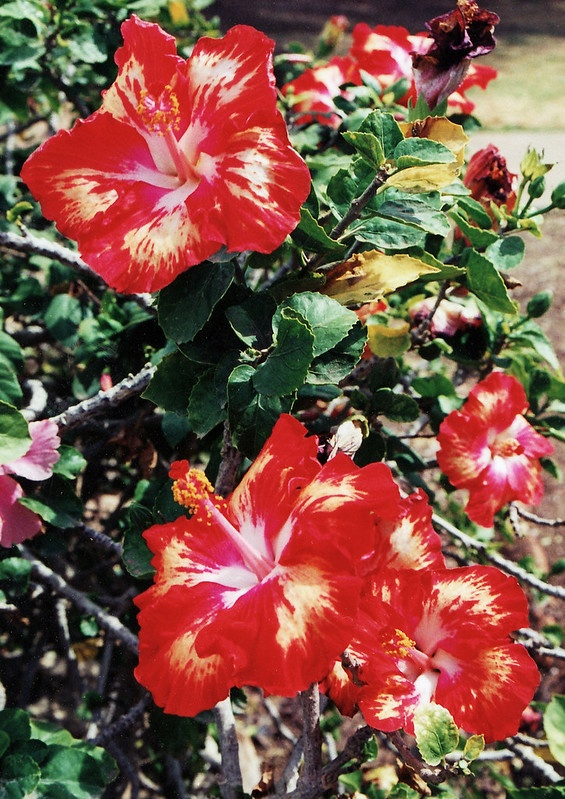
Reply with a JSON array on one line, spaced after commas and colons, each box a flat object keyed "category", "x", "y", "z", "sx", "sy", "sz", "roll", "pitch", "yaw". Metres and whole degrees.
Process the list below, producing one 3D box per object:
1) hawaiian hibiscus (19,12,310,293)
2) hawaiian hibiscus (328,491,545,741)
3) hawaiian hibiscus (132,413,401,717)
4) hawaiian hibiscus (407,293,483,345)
[{"category": "hawaiian hibiscus", "x": -0.142, "y": -0.351, "z": 1.081, "sx": 0.307, "sy": 0.343, "sz": 0.384, "roll": -23, "pitch": 35, "yaw": -36}, {"category": "hawaiian hibiscus", "x": 0.203, "y": 0.332, "z": 1.073, "sx": 0.254, "sy": 0.129, "sz": 0.291, "roll": 13, "pitch": 13, "yaw": 1}, {"category": "hawaiian hibiscus", "x": -0.040, "y": 0.213, "z": 1.009, "sx": 0.366, "sy": 0.303, "sz": 0.314, "roll": 4, "pitch": 28, "yaw": 9}, {"category": "hawaiian hibiscus", "x": 0.377, "y": -0.194, "z": 1.765, "sx": 0.128, "sy": 0.058, "sz": 0.126, "roll": 26, "pitch": 19, "yaw": 25}]
